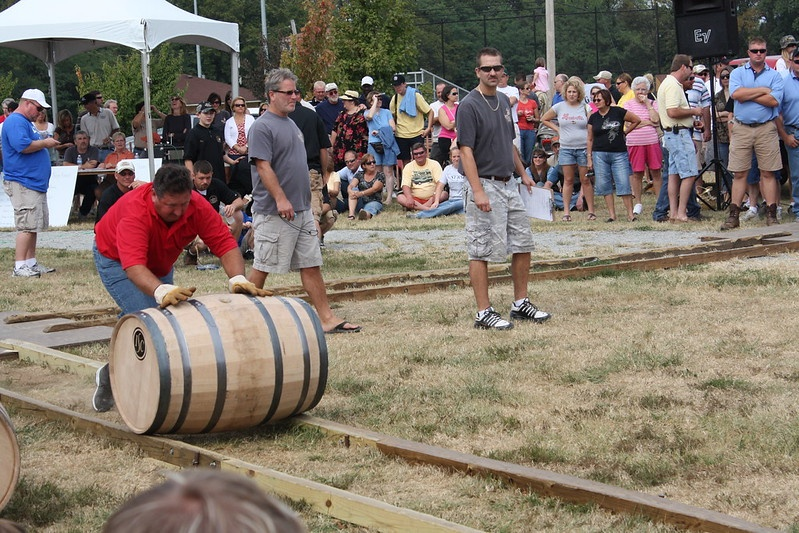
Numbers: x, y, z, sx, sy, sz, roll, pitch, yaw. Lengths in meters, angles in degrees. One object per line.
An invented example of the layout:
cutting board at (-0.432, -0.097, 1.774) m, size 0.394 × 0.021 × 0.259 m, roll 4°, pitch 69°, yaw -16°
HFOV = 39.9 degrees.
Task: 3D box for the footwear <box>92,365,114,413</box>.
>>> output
footwear at (-2.562, 1.065, 9.483) m, size 0.140 × 0.422 × 0.274 m, roll -2°, pitch 16°, yaw -15°

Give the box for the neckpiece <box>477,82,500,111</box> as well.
neckpiece at (0.878, -1.703, 11.001) m, size 0.204 × 0.279 × 0.067 m, roll -16°, pitch -12°, yaw -43°

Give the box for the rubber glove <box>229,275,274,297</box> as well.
rubber glove at (-1.283, 0.131, 9.226) m, size 0.319 × 0.104 × 0.185 m, roll 34°, pitch 8°, yaw 33°

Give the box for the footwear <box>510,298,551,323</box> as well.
footwear at (1.314, 0.460, 11.294) m, size 0.455 × 0.248 × 0.181 m, roll 1°, pitch 5°, yaw 12°

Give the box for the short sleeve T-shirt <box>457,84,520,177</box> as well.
short sleeve T-shirt at (0.878, -1.322, 11.057) m, size 0.671 × 0.893 × 0.185 m, roll -4°, pitch 6°, yaw -19°

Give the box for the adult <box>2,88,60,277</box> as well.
adult at (-4.927, -1.124, 14.599) m, size 0.699 × 2.444 × 0.860 m, roll -4°, pitch 6°, yaw -17°

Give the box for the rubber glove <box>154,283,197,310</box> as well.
rubber glove at (-1.852, 0.254, 8.977) m, size 0.277 × 0.197 × 0.123 m, roll -8°, pitch -33°, yaw 23°

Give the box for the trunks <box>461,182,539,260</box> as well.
trunks at (1.020, -0.473, 11.171) m, size 0.885 × 1.076 × 0.547 m, roll -4°, pitch 1°, yaw -44°

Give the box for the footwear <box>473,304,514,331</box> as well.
footwear at (0.935, 0.534, 11.076) m, size 0.393 × 0.202 × 0.174 m, roll 2°, pitch 5°, yaw 15°

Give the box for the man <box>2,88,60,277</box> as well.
man at (-4.916, -1.121, 14.575) m, size 0.689 × 2.443 × 0.806 m, roll -4°, pitch 6°, yaw -19°
